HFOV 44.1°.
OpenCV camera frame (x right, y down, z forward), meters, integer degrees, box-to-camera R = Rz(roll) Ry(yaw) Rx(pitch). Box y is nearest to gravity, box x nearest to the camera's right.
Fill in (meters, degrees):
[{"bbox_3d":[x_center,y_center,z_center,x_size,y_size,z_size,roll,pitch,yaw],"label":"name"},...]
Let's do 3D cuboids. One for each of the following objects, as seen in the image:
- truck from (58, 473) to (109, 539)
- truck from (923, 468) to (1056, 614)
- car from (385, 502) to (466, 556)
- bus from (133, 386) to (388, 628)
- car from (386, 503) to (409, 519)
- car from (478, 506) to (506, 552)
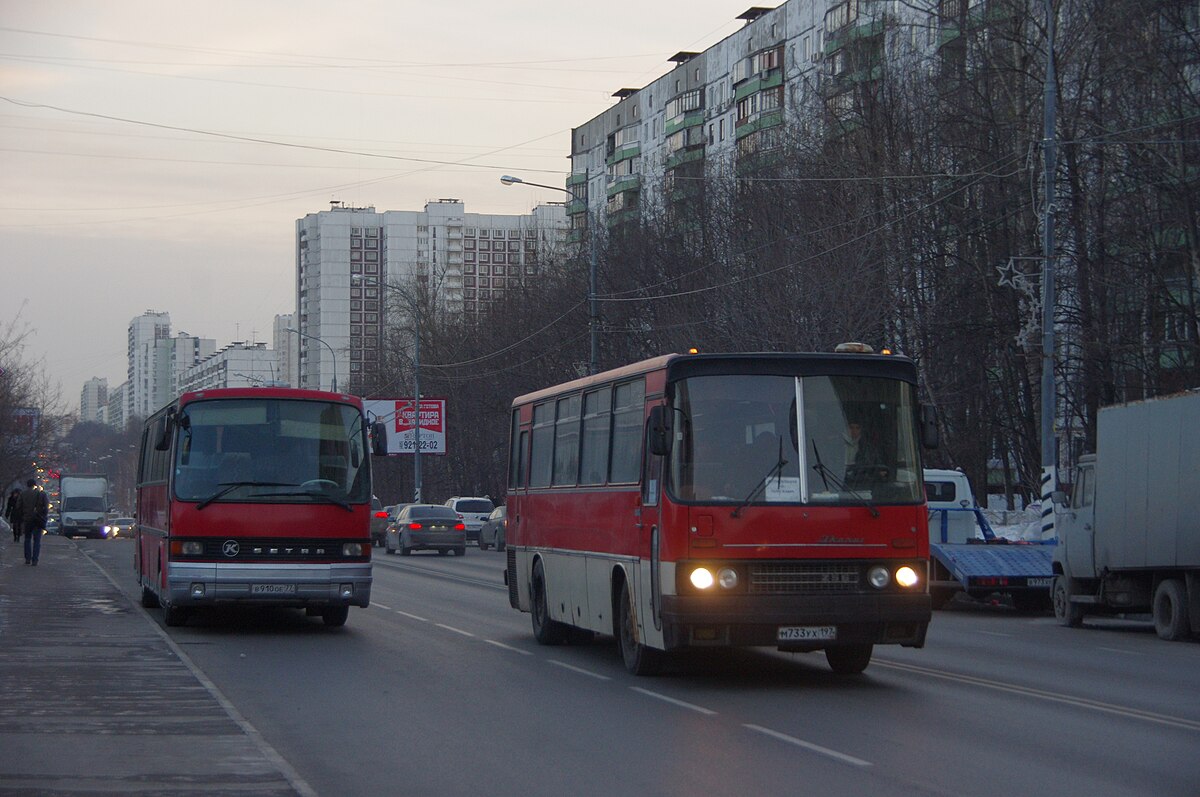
[{"bbox_3d":[-28.319,5.851,80.862,2.430,3.358,3.637,0,-3,-19],"label":"truck"},{"bbox_3d":[7.531,2.979,30.466,2.601,2.515,4.122,2,-2,-11],"label":"truck"},{"bbox_3d":[-6.190,4.528,51.661,1.846,1.729,3.371,1,-4,-27],"label":"car"},{"bbox_3d":[-5.341,1.650,23.326,2.083,2.548,5.690,1,-9,-13],"label":"bus"},{"bbox_3d":[-8.523,4.567,61.364,1.067,0.870,1.805,-1,0,-13],"label":"car"},{"bbox_3d":[-4.112,4.903,55.665,1.362,1.390,2.897,1,0,-9],"label":"car"}]
